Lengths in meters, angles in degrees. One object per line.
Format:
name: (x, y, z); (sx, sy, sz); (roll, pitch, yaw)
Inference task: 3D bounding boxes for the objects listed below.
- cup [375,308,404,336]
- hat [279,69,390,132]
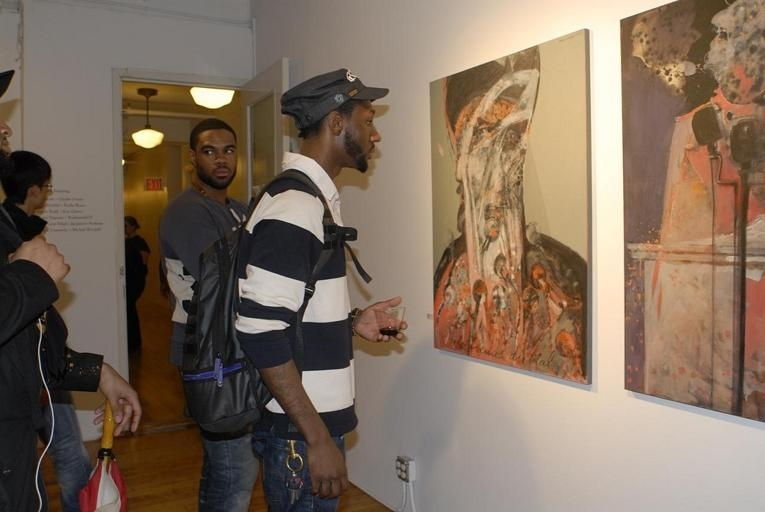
cup: (0.032, 0.296, 2.564); (0.105, 0.129, 0.122); (3, 4, -4)
hat: (-0.202, -0.593, 2.278); (0.316, 0.126, 0.227); (-20, 20, 1)
